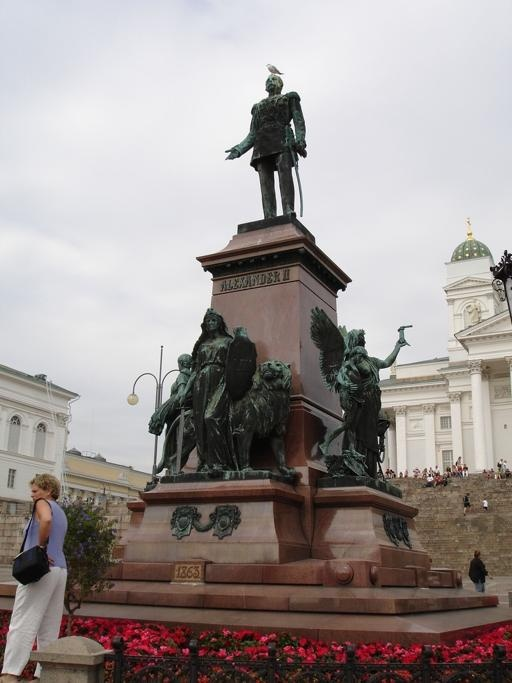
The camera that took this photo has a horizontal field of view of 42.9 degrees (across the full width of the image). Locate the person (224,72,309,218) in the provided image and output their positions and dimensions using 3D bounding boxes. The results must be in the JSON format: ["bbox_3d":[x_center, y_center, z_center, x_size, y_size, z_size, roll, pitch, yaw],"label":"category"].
[{"bbox_3d":[0.229,-3.027,9.953,1.151,2.509,0.618,-9,-5,19],"label":"person"}]

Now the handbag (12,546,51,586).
[{"bbox_3d":[-1.251,1.252,3.631,0.194,0.220,0.195,-5,-5,-19],"label":"handbag"}]

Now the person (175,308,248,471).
[{"bbox_3d":[-0.486,0.568,8.244,0.792,2.013,1.224,-6,-5,-16],"label":"person"}]
